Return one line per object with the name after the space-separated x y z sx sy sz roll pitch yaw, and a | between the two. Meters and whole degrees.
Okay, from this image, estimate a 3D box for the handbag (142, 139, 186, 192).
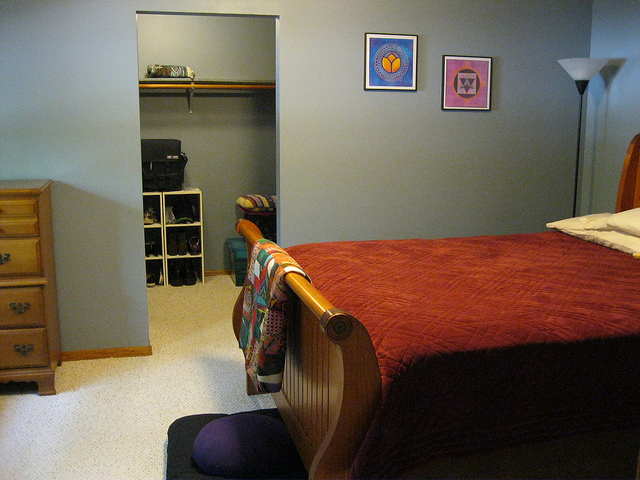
-1.557 -0.766 5.134 0.480 0.500 0.420 -1 7 -16 | handbag

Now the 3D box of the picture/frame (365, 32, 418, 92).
0.522 -1.365 3.789 0.424 0.423 0.028 0 6 -15 | picture/frame

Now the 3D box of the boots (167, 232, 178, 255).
-1.494 0.034 5.048 0.122 0.212 0.111 1 14 3 | boots

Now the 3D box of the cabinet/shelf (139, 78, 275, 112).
-1.122 -1.460 5.084 1.311 0.306 0.492 -6 15 -22 | cabinet/shelf

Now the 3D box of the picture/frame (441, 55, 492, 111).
1.136 -1.256 3.951 0.414 0.424 0.042 1 6 -12 | picture/frame

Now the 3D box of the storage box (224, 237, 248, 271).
-0.871 0.134 5.146 0.270 0.292 0.418 -1 7 -13 | storage box

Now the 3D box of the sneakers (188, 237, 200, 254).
-1.326 0.057 5.182 0.108 0.178 0.178 1 -6 -16 | sneakers
